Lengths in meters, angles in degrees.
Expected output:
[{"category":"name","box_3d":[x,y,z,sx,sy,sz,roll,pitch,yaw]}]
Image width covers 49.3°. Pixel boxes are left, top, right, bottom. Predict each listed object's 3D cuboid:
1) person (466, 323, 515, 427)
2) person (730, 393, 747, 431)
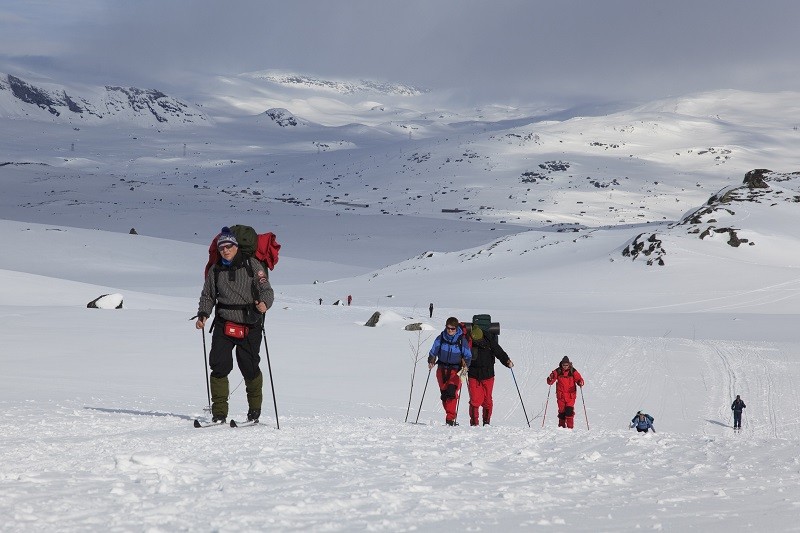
[{"category":"person","box_3d":[2.440,3.097,24.836,1.015,2.887,1.371,2,-7,6]},{"category":"person","box_3d":[11.896,5.166,30.662,0.363,1.141,1.556,0,-7,21]}]
